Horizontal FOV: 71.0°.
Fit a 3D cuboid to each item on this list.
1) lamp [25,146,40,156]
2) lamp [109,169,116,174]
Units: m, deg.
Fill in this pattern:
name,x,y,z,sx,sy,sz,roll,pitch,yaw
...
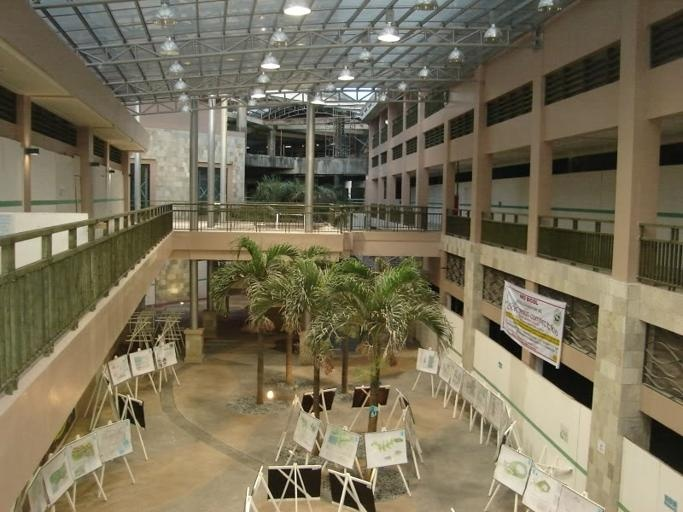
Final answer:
name,x,y,z,sx,sy,sz,roll,pitch,yaw
lamp,-7.709,-2.632,12.068,0.325,0.214,0.325,0,3,-24
lamp,-10.115,-3.770,21.360,0.099,0.243,1.573,-3,6,-19
